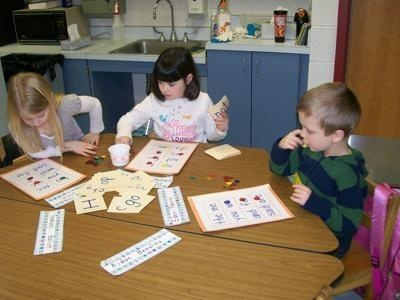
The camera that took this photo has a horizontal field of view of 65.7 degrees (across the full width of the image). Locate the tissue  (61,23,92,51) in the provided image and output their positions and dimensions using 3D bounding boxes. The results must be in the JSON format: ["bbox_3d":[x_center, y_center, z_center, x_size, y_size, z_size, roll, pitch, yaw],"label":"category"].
[{"bbox_3d":[-1.355,-1.204,3.315,0.198,0.265,0.338,12,33,19],"label":"tissue "}]

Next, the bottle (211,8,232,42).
[{"bbox_3d":[0.196,-1.238,3.027,0.227,0.311,0.226,-1,24,1],"label":"bottle"}]

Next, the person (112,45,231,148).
[{"bbox_3d":[-0.175,-0.190,2.119,0.798,0.924,0.541,2,28,9],"label":"person"}]

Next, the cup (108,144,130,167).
[{"bbox_3d":[-0.429,0.027,1.630,0.122,0.087,0.123,1,19,0],"label":"cup"}]
